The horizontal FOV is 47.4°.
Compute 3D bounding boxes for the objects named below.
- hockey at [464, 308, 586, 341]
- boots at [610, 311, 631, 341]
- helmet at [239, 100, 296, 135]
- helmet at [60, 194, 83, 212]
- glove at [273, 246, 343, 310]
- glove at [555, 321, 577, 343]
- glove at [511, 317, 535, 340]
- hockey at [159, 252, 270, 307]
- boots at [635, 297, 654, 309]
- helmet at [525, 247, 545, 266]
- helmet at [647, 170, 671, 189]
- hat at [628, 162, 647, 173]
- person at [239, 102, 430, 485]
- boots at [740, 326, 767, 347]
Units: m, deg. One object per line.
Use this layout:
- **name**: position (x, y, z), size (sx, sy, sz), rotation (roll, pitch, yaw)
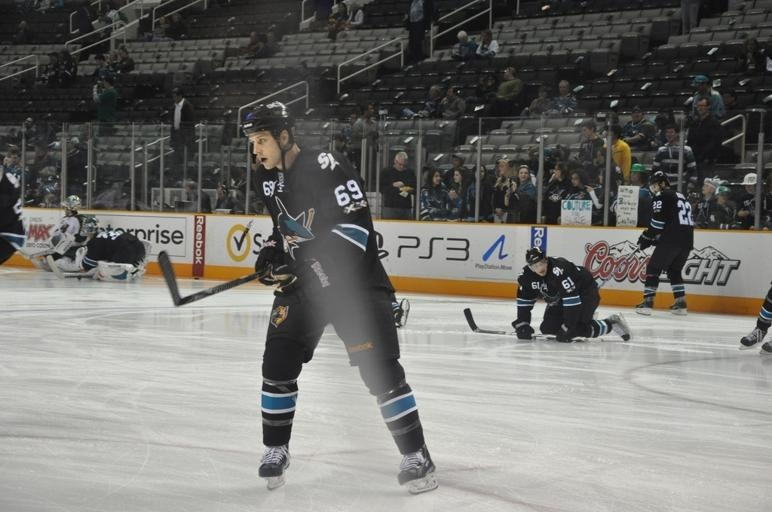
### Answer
- **hockey**: position (1.811, 0.875, 11.117), size (1.757, 0.358, 0.187), rotation (4, -9, -18)
- **boots**: position (2.812, 0.813, 10.566), size (0.176, 0.397, 0.162), rotation (-22, -26, -12)
- **helmet**: position (-0.846, -0.954, 6.373), size (0.386, 0.338, 0.301), rotation (-7, 4, -25)
- **helmet**: position (-5.899, -0.987, 16.416), size (0.458, 0.324, 0.576), rotation (0, -1, -19)
- **glove**: position (-0.525, 0.141, 6.175), size (0.469, 0.428, 0.385), rotation (7, 5, 10)
- **glove**: position (2.107, 0.922, 10.314), size (0.182, 0.238, 0.250), rotation (-2, -8, 14)
- **glove**: position (1.667, 0.861, 10.378), size (0.286, 0.272, 0.177), rotation (-25, -18, 26)
- **hockey**: position (-1.358, 0.250, 6.762), size (0.582, 0.168, 0.566), rotation (-26, 36, -34)
- **boots**: position (3.804, 0.694, 12.888), size (0.207, 0.178, 0.251), rotation (8, 13, 30)
- **helmet**: position (1.705, -0.006, 10.135), size (0.164, 0.195, 0.210), rotation (-30, -2, -5)
- **helmet**: position (3.968, -1.129, 12.852), size (0.248, 0.305, 0.324), rotation (8, 9, 41)
- **hat**: position (3.820, -1.336, 13.243), size (0.236, 0.132, 0.165), rotation (3, 11, 10)
- **person**: position (-0.370, 0.292, 6.226), size (1.237, 2.666, 0.766), rotation (0, 12, -6)
- **boots**: position (4.282, 0.947, 10.218), size (0.327, 0.145, 0.107), rotation (-31, 20, -2)
